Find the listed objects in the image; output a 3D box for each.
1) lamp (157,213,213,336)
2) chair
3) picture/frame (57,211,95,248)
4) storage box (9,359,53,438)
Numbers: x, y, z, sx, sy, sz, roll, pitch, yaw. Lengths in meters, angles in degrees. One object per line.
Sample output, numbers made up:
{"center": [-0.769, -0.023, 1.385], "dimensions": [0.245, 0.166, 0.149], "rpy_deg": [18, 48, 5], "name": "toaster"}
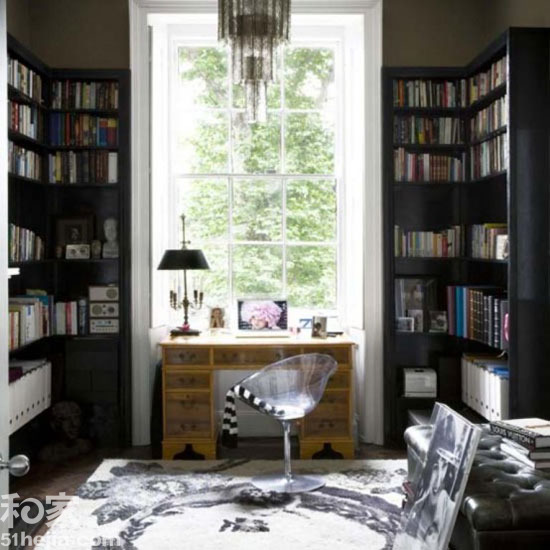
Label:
{"center": [-0.657, 0.010, 4.187], "dimensions": [0.318, 0.888, 0.359], "rpy_deg": [-1, 1, 10], "name": "lamp"}
{"center": [0.092, 0.859, 3.623], "dimensions": [0.664, 1.011, 0.671], "rpy_deg": [-1, -4, 31], "name": "chair"}
{"center": [-1.464, -0.333, 4.208], "dimensions": [0.224, 0.282, 0.027], "rpy_deg": [0, -3, 1], "name": "picture/frame"}
{"center": [-1.569, 0.778, 3.663], "dimensions": [0.183, 0.506, 0.454], "rpy_deg": [1, -14, 1], "name": "storage box"}
